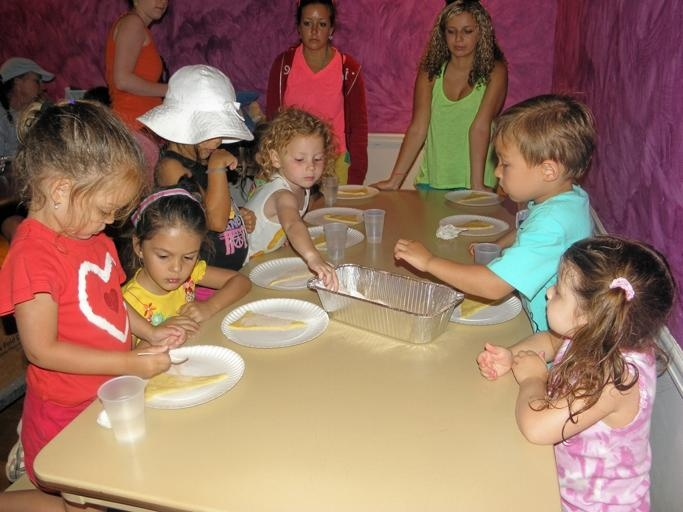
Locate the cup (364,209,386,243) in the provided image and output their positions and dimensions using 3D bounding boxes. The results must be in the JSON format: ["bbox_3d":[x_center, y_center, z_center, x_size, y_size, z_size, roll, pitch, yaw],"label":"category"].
[{"bbox_3d":[0.146,-0.138,2.576,0.113,0.140,0.108,0,13,0],"label":"cup"}]

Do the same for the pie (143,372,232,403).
[{"bbox_3d":[-0.464,0.398,1.667,0.226,0.019,0.087,-6,26,-2],"label":"pie"}]

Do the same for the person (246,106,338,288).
[{"bbox_3d":[-0.307,-0.369,2.687,0.340,0.499,0.978,-13,44,-27],"label":"person"}]

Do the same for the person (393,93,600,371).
[{"bbox_3d":[0.599,-0.290,2.526,0.815,1.351,0.745,3,20,15],"label":"person"}]

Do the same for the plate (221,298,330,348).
[{"bbox_3d":[-0.241,0.234,1.926,0.359,0.040,0.367,-10,22,-31],"label":"plate"}]

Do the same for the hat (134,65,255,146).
[{"bbox_3d":[-0.618,-0.655,2.473,0.385,0.223,0.404,14,19,21],"label":"hat"}]

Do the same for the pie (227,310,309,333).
[{"bbox_3d":[-0.260,0.229,1.929,0.167,0.022,0.099,4,24,5],"label":"pie"}]

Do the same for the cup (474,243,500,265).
[{"bbox_3d":[0.592,-0.013,2.281,0.078,0.075,0.093,0,13,-4],"label":"cup"}]

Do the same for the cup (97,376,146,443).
[{"bbox_3d":[-0.589,0.417,1.575,0.115,0.132,0.176,-3,12,-4],"label":"cup"}]
